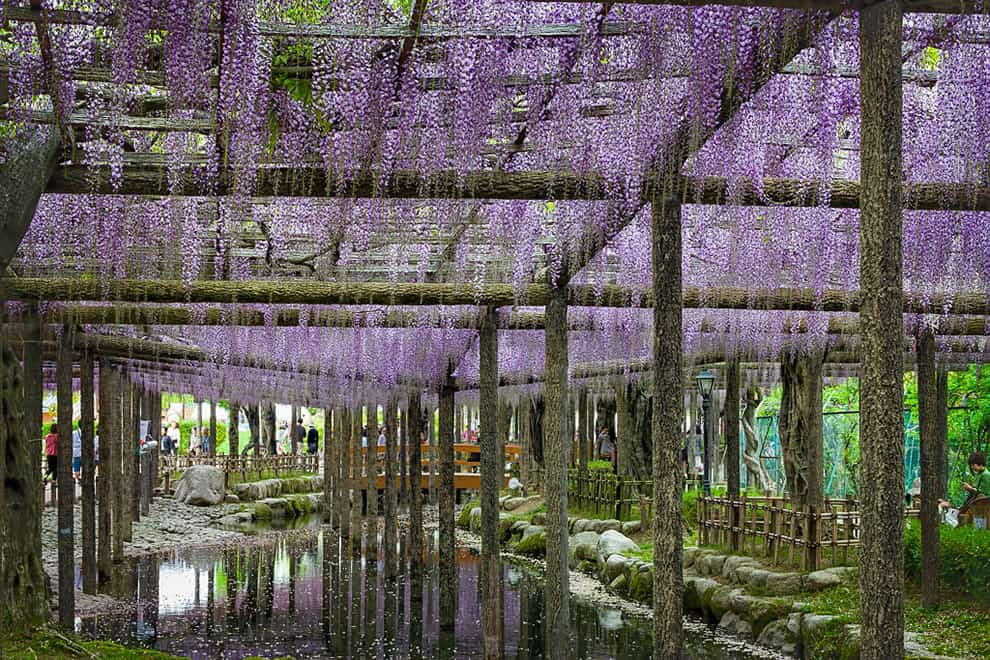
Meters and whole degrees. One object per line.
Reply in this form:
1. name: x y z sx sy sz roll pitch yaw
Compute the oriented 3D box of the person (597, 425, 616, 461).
1. person: 2.168 2.286 27.037 0.513 0.594 1.363 -7 -4 3
